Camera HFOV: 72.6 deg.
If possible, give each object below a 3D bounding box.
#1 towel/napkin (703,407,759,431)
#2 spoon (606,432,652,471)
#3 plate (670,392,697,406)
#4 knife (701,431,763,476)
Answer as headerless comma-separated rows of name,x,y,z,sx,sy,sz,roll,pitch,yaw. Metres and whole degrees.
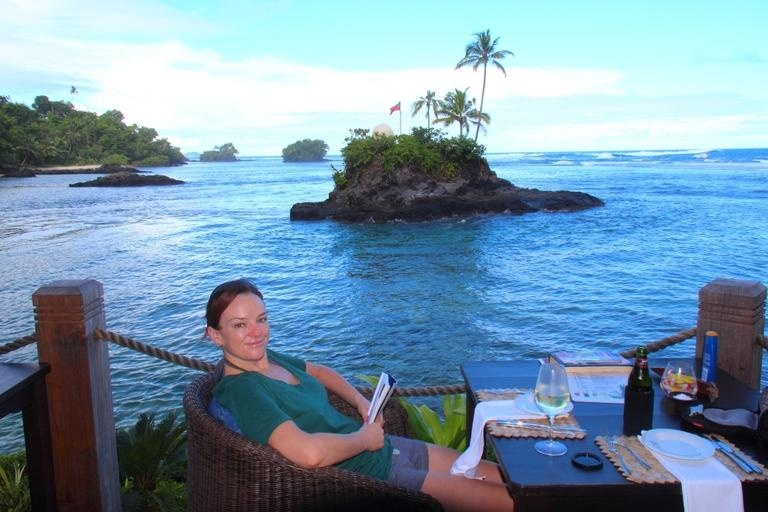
towel/napkin,2.023,0.944,3.044,0.251,0.041,0.119,0,18,16
spoon,1.353,1.082,2.915,0.070,0.042,0.325,-7,10,-15
plate,1.903,0.897,3.319,0.113,0.033,0.097,-1,4,-10
knife,1.915,1.083,2.864,0.324,0.102,0.224,3,9,27
